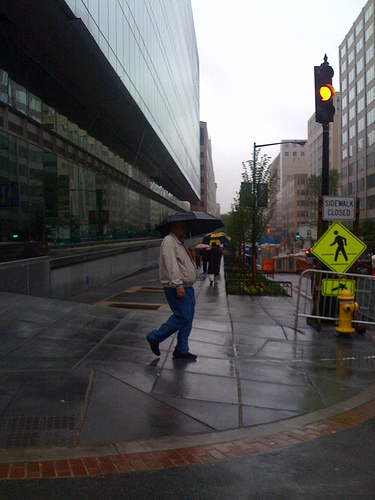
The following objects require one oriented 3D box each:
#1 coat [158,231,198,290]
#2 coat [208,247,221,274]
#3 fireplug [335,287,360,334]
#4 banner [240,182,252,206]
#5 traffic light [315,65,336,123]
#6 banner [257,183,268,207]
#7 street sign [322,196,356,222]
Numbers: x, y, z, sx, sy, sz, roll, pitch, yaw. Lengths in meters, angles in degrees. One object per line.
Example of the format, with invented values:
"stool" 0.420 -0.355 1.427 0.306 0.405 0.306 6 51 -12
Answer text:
"coat" -0.118 0.179 4.872 0.410 0.825 0.928 -3 -2 12
"coat" 1.321 0.565 17.432 0.588 1.361 0.776 2 -2 0
"fireplug" 3.135 1.234 6.977 0.357 0.928 0.367 -3 6 -13
"banner" 3.519 -3.183 20.550 0.410 1.488 1.221 3 -2 -19
"traffic light" 3.099 -3.531 7.979 0.430 1.292 0.672 1 -2 23
"banner" 4.237 -3.095 20.089 0.578 1.386 0.261 2 -2 13
"street sign" 3.496 -0.942 8.054 0.909 0.670 0.359 4 -2 -13
